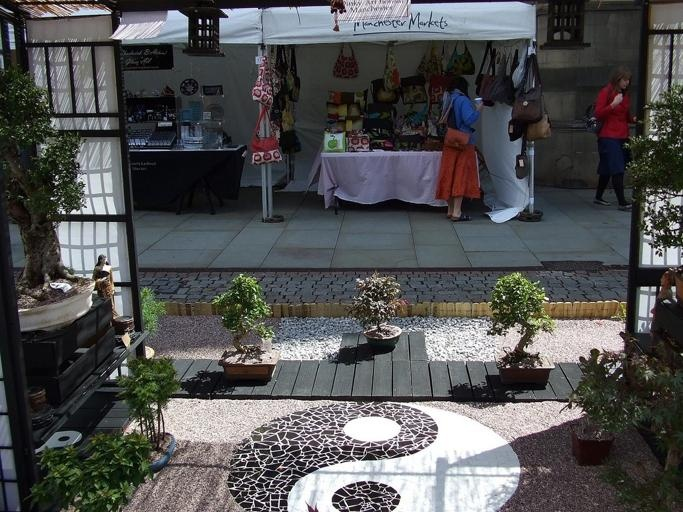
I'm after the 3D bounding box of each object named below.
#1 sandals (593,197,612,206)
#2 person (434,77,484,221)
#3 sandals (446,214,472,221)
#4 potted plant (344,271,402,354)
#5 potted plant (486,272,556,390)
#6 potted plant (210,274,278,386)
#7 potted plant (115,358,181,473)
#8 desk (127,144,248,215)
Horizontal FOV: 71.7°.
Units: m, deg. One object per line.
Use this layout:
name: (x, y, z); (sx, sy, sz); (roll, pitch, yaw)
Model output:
sandals: (5.338, -1.115, 9.710); (0.272, 0.111, 0.145); (3, 11, 16)
person: (2.118, -1.940, 8.713); (0.786, 2.571, 0.476); (1, 15, 15)
sandals: (2.220, -0.720, 8.927); (0.407, 0.149, 0.162); (-6, 22, -14)
potted plant: (0.338, 0.504, 4.651); (0.476, 0.718, 0.646); (-1, 15, 7)
potted plant: (1.463, 0.610, 3.876); (0.512, 0.895, 0.359); (2, 15, 19)
potted plant: (-0.817, 0.606, 4.049); (0.504, 0.924, 0.353); (-5, 15, -9)
potted plant: (-1.261, 1.025, 3.170); (0.348, 0.677, 0.640); (-10, 16, -24)
desk: (-3.229, -1.798, 10.419); (1.497, 1.061, 1.901); (-1, 13, -2)
